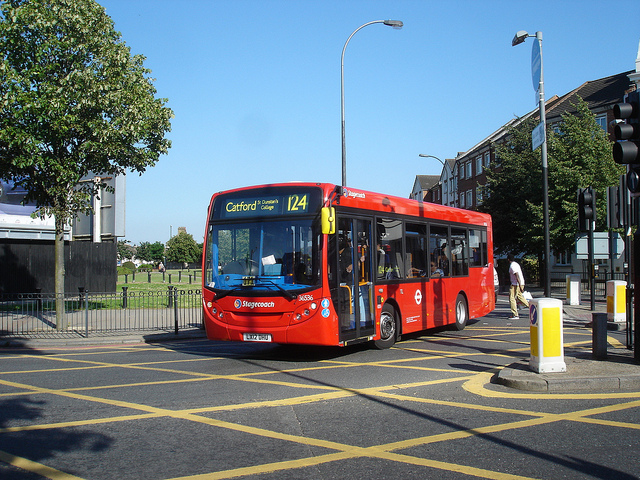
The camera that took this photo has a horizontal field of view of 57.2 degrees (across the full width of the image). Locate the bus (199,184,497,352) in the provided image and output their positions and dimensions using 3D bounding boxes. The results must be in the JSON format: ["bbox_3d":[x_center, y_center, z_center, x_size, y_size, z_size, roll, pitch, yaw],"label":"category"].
[{"bbox_3d":[1.692,0.843,16.609,3.110,3.867,10.670,-3,-4,34],"label":"bus"}]

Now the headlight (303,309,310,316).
[{"bbox_3d":[-0.269,1.456,11.879,0.096,0.068,0.105,10,3,9],"label":"headlight"}]

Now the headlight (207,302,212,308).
[{"bbox_3d":[-2.419,1.400,12.805,0.099,0.118,0.028,-1,0,14],"label":"headlight"}]

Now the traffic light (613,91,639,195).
[{"bbox_3d":[5.536,-1.754,10.579,0.423,1.883,0.654,0,1,28],"label":"traffic light"}]
